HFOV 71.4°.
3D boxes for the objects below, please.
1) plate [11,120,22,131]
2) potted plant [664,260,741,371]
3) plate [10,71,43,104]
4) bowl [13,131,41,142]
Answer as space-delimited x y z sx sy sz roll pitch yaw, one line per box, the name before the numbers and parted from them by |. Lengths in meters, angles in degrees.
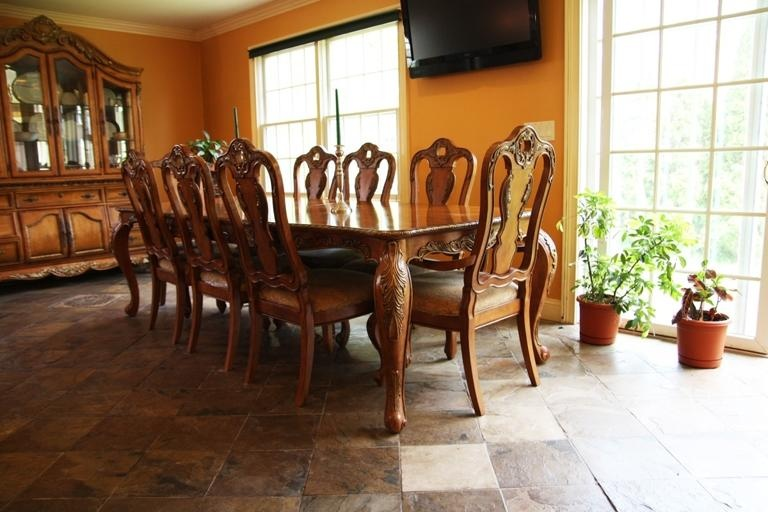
plate | -3.844 -1.360 5.579 0.024 0.115 0.095 4 13 25
potted plant | 2.132 0.397 3.583 0.375 0.649 0.378 -4 5 -29
plate | -3.758 -1.778 5.619 0.070 0.291 0.303 14 -2 40
bowl | -3.785 -1.256 5.638 0.044 0.101 0.212 8 15 37
